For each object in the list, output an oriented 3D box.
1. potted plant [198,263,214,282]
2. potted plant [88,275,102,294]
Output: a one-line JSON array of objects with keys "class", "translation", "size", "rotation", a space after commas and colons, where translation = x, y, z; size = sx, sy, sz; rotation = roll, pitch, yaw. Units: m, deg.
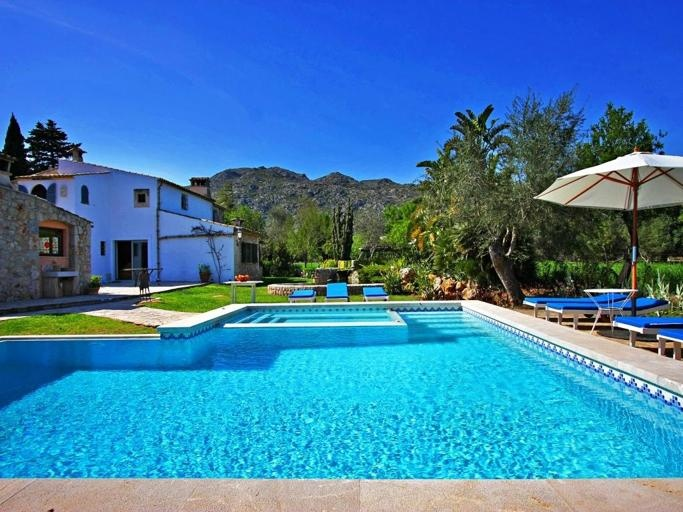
[{"class": "potted plant", "translation": [-7.869, 1.004, 25.964], "size": [0.817, 1.218, 0.811], "rotation": [-6, -11, 26]}, {"class": "potted plant", "translation": [-10.846, 1.256, 19.879], "size": [0.554, 0.770, 0.676], "rotation": [0, 2, -28]}]
